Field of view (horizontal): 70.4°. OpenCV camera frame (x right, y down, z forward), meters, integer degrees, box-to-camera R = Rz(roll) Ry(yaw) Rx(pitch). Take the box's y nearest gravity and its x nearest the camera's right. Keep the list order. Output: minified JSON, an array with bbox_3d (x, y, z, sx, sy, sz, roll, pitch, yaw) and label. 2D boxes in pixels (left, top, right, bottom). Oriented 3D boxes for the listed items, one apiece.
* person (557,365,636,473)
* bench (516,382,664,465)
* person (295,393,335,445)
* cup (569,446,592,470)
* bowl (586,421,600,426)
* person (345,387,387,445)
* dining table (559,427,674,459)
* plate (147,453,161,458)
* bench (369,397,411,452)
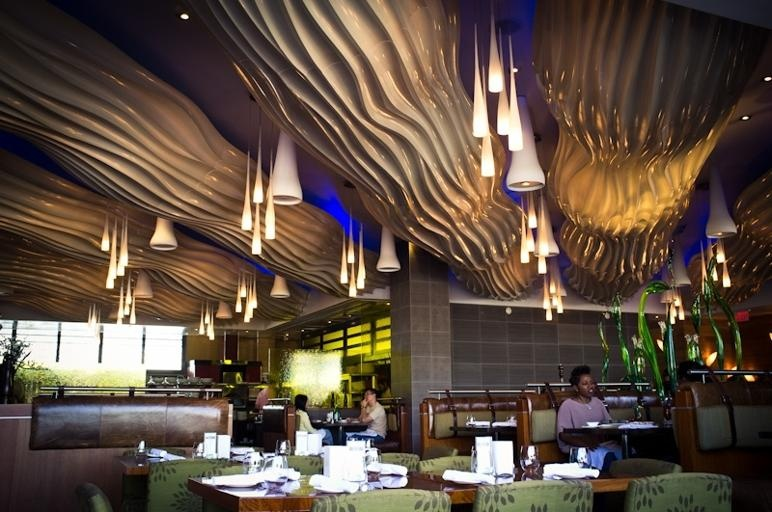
[{"bbox_3d":[2.770,2.251,7.167,0.852,1.542,0.879,3,-13,-22],"label":"person"},{"bbox_3d":[2.768,2.265,7.368,1.771,0.964,0.664,6,-16,-25],"label":"bench"},{"bbox_3d":[-1.464,3.437,11.156,0.722,1.285,0.551,-4,-6,-30],"label":"person"},{"bbox_3d":[1.480,1.551,4.235,0.148,0.243,0.158,2,-16,1],"label":"cup"},{"bbox_3d":[2.628,2.129,6.978,0.117,0.045,0.118,-3,-8,0],"label":"bowl"},{"bbox_3d":[-0.392,3.603,12.376,0.635,1.163,1.015,-5,-17,13],"label":"person"},{"bbox_3d":[2.933,2.358,6.950,1.255,0.282,0.795,11,-22,-32],"label":"dining table"},{"bbox_3d":[-2.565,2.191,6.035,0.078,0.020,0.078,2,-3,-9],"label":"plate"},{"bbox_3d":[0.157,4.334,13.982,1.014,1.895,1.143,10,-20,-23],"label":"bench"}]
